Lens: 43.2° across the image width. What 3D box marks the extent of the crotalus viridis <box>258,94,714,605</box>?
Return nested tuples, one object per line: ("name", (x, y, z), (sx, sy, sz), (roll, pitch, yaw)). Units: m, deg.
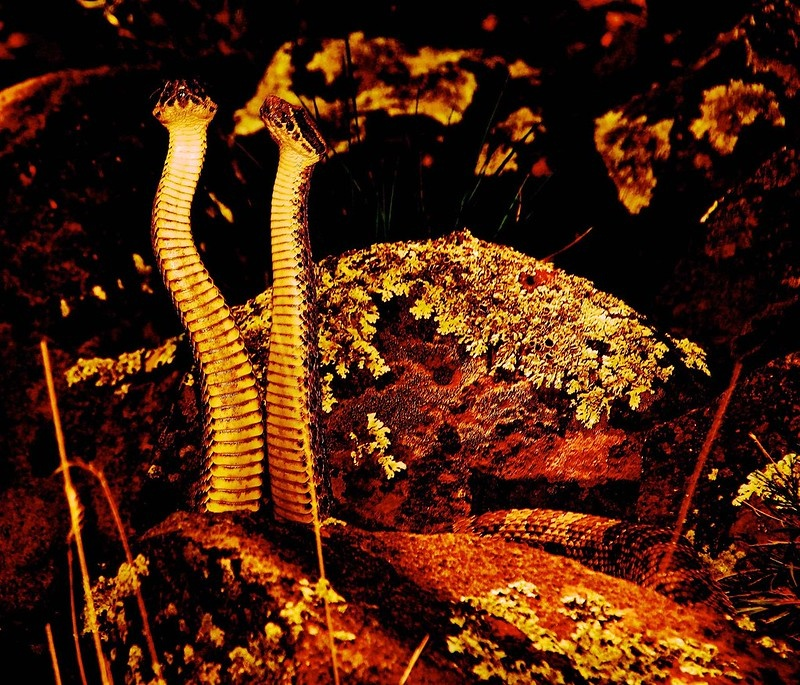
("crotalus viridis", (0.298, 0.152, 3.186), (1.293, 0.259, 1.019), (11, 81, 5))
